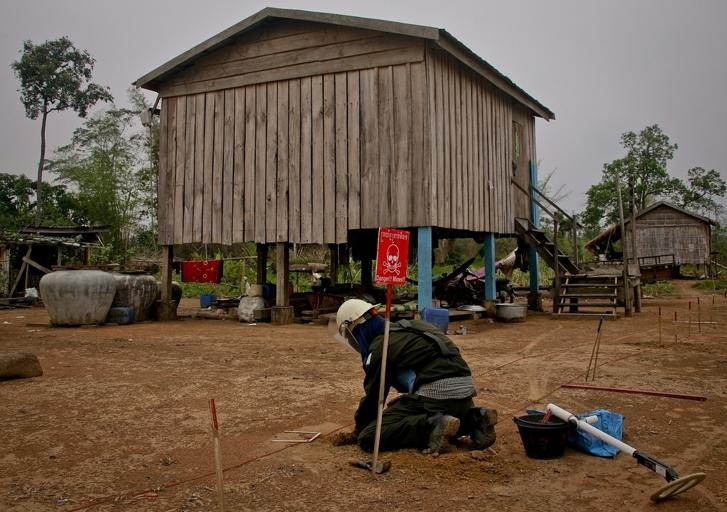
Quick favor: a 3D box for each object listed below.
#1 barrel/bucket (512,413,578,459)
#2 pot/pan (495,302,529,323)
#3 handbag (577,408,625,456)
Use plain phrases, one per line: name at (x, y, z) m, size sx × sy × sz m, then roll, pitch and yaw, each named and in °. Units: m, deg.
barrel/bucket at (1.845, 1.744, 5.945) m, size 0.270 × 0.454 × 0.449 m, roll -22°, pitch -7°, yaw -27°
pot/pan at (3.776, 1.442, 14.742) m, size 0.532 × 0.332 × 0.546 m, roll -2°, pitch -3°, yaw 37°
handbag at (2.570, 1.912, 6.233) m, size 0.440 × 0.381 × 0.611 m, roll -2°, pitch -4°, yaw 27°
